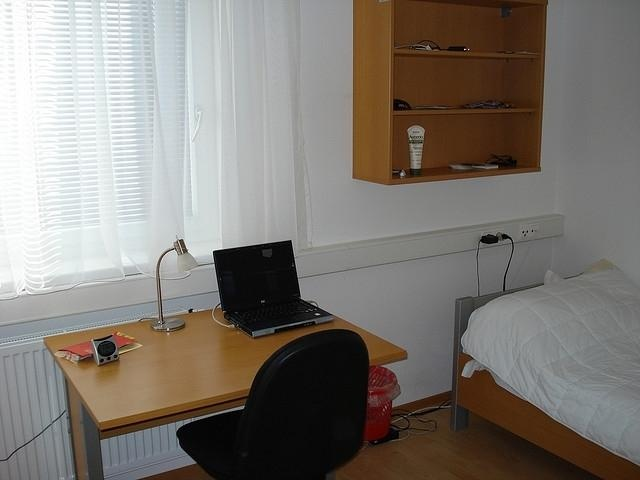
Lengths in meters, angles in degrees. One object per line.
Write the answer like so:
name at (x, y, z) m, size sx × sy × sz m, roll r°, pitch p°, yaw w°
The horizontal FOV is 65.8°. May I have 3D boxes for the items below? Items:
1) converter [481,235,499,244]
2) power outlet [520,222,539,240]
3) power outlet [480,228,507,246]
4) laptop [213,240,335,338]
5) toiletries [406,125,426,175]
converter at (1.091, -0.002, 3.165) m, size 0.057 × 0.036 × 0.080 m, roll 0°, pitch 11°, yaw -3°
power outlet at (1.405, -0.057, 3.316) m, size 0.156 × 0.113 × 0.096 m, roll -6°, pitch 10°, yaw -28°
power outlet at (1.115, -0.020, 3.185) m, size 0.133 × 0.055 × 0.096 m, roll 5°, pitch 11°, yaw 39°
laptop at (-0.259, 0.215, 2.338) m, size 0.472 × 0.352 × 0.428 m, roll -8°, pitch 15°, yaw -33°
toiletries at (0.531, -0.517, 2.810) m, size 0.079 × 0.254 × 0.209 m, roll -6°, pitch 17°, yaw -9°
